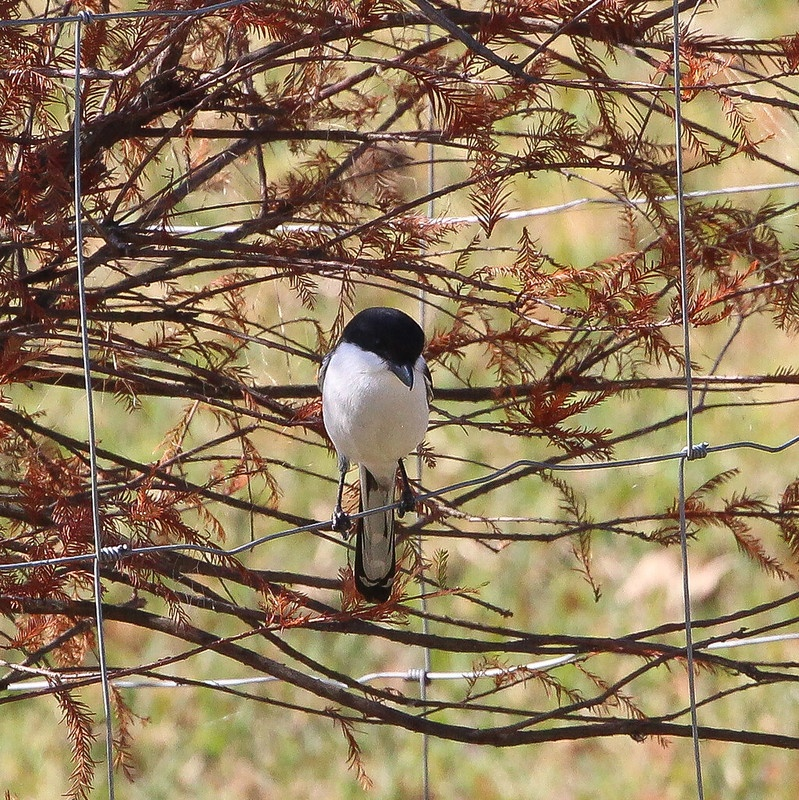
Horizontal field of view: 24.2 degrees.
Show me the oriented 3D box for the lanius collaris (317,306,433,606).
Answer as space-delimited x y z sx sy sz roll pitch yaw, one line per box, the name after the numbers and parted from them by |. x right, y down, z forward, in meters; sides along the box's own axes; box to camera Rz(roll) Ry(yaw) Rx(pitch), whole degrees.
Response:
-0.154 0.286 7.061 0.286 0.533 1.296 3 -46 -4 | lanius collaris
